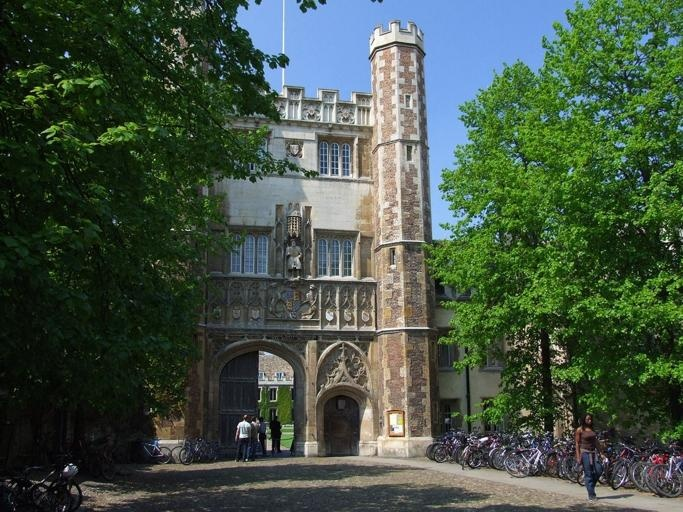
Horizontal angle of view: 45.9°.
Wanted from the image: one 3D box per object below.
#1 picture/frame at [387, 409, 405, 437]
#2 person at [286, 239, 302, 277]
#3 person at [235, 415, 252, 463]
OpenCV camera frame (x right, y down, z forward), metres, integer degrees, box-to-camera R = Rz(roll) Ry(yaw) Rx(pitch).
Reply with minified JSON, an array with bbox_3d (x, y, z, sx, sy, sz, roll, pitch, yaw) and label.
[{"bbox_3d":[1.961,5.892,28.339,0.848,1.165,0.091,-10,-18,37],"label":"picture/frame"},{"bbox_3d":[-1.746,0.074,30.312,0.650,1.510,0.257,3,-13,-4],"label":"person"},{"bbox_3d":[-3.284,6.181,27.268,0.468,1.513,1.506,3,-13,-6],"label":"person"}]
